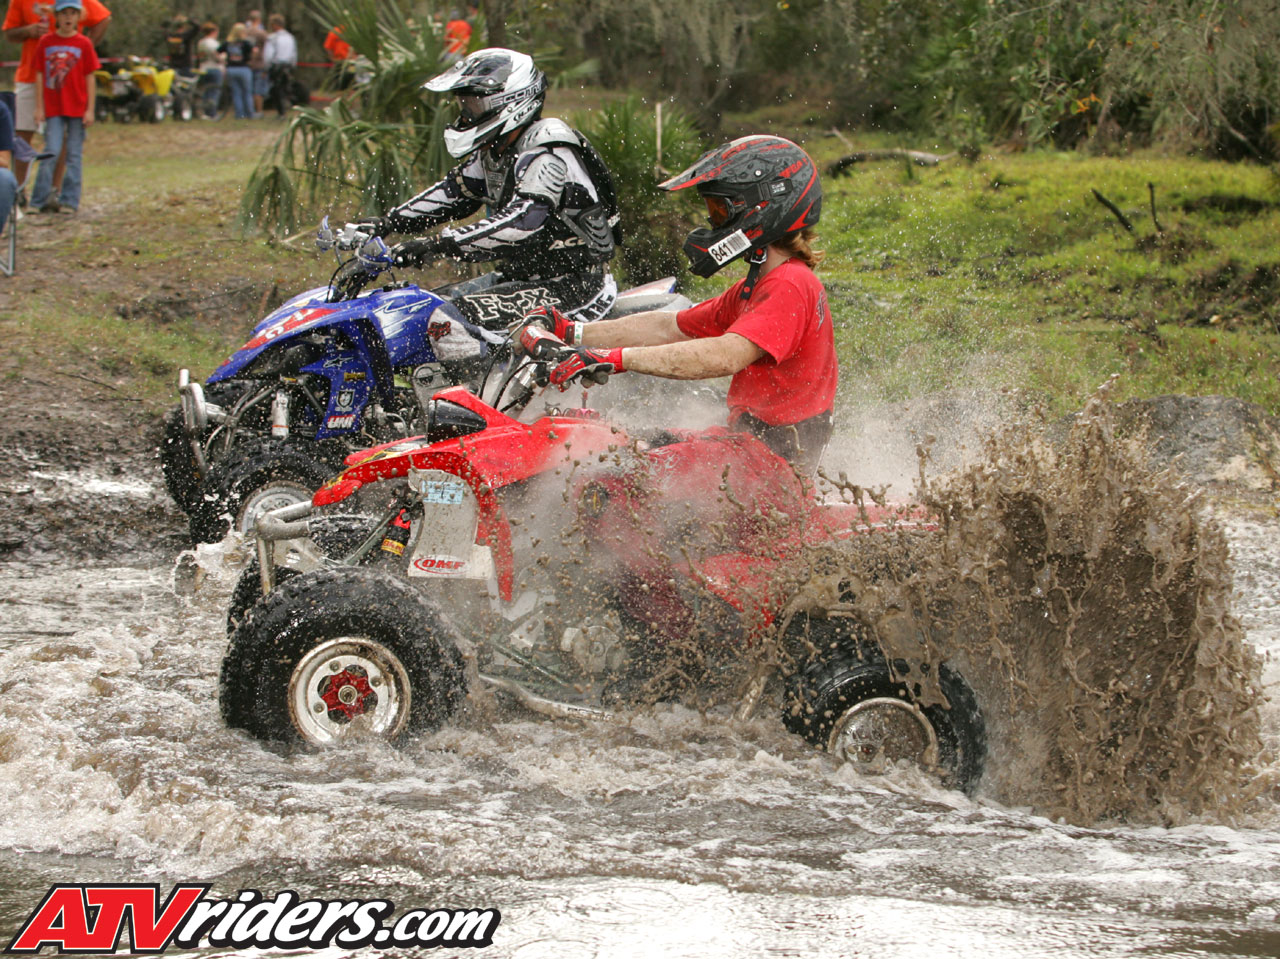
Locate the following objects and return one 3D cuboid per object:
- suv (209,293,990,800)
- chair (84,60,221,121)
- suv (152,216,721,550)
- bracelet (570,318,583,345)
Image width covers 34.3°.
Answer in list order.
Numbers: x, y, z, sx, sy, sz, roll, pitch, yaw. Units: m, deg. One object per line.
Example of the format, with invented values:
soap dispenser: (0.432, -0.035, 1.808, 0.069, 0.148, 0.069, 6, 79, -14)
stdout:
suv: (-0.335, 0.308, 11.236, 3.663, 2.321, 2.055, 9, 6, -8)
chair: (-5.142, -3.970, 21.473, 0.612, 0.384, 1.130, 1, 5, 18)
suv: (-0.981, -0.690, 12.993, 3.705, 2.082, 1.528, -6, 8, -23)
bracelet: (-0.335, -0.749, 10.757, 0.034, 0.098, 0.071, 7, 4, 15)
